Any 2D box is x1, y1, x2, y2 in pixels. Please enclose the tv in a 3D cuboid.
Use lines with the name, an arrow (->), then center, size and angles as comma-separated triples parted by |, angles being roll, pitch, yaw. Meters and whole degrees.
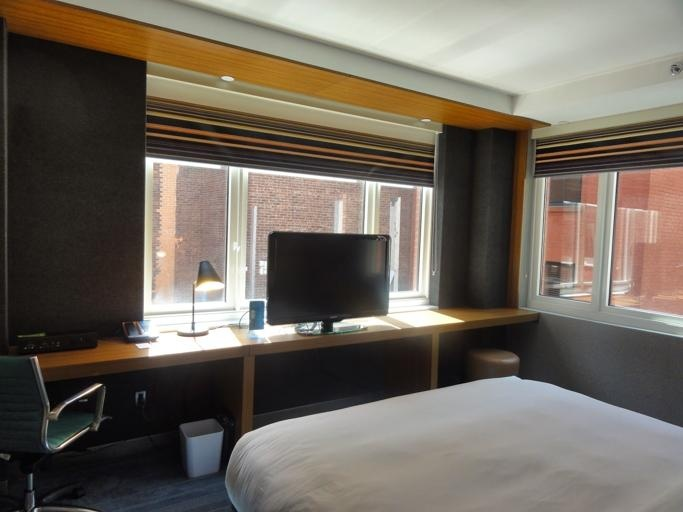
tv -> -0.133, 0.210, 3.837 | 0.863, 0.628, 0.137 | 1, -1, -27

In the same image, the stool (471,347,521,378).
stool -> 1.301, 0.891, 4.363 | 0.296, 0.210, 0.287 | 1, -3, -3

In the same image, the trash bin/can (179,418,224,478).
trash bin/can -> -0.934, 1.336, 3.579 | 0.358, 0.325, 0.271 | -1, 2, -24

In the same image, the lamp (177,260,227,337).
lamp -> -1.021, 0.287, 3.633 | 0.298, 0.528, 0.564 | -1, 3, -18
